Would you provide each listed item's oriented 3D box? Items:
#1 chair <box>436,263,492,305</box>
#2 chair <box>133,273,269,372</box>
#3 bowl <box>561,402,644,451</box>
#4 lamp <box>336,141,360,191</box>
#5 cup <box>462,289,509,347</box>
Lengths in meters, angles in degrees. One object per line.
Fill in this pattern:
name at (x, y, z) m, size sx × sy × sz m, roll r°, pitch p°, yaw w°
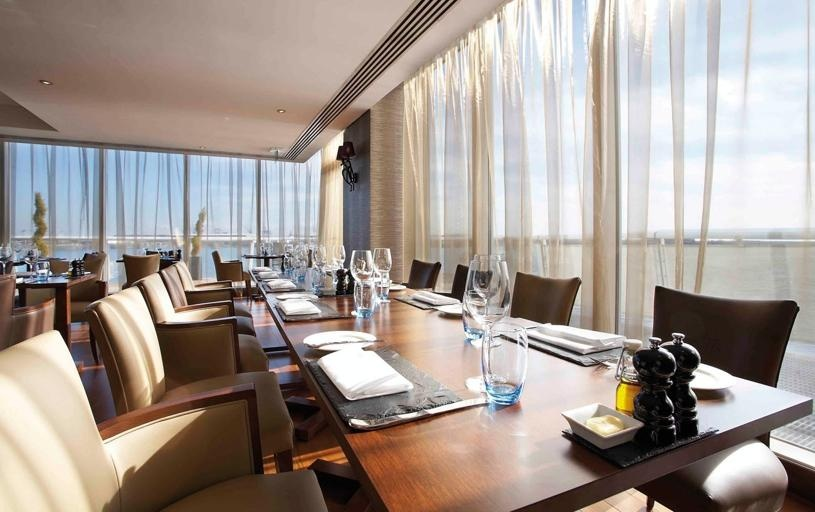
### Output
chair at (0.402, 0.189, 3.775) m, size 0.233 × 0.394 × 0.221 m, roll 7°, pitch -2°, yaw -31°
chair at (-1.584, 0.364, 4.166) m, size 0.590 × 0.686 × 0.534 m, roll -5°, pitch 7°, yaw -31°
bowl at (0.732, 0.655, 1.935) m, size 0.212 × 0.073 × 0.232 m, roll 7°, pitch 7°, yaw -1°
lamp at (-0.872, -1.266, 7.164) m, size 0.232 × 0.672 × 0.568 m, roll -4°, pitch 5°, yaw -18°
cup at (0.368, 0.287, 2.456) m, size 0.239 × 0.279 × 0.237 m, roll 1°, pitch 2°, yaw 0°
